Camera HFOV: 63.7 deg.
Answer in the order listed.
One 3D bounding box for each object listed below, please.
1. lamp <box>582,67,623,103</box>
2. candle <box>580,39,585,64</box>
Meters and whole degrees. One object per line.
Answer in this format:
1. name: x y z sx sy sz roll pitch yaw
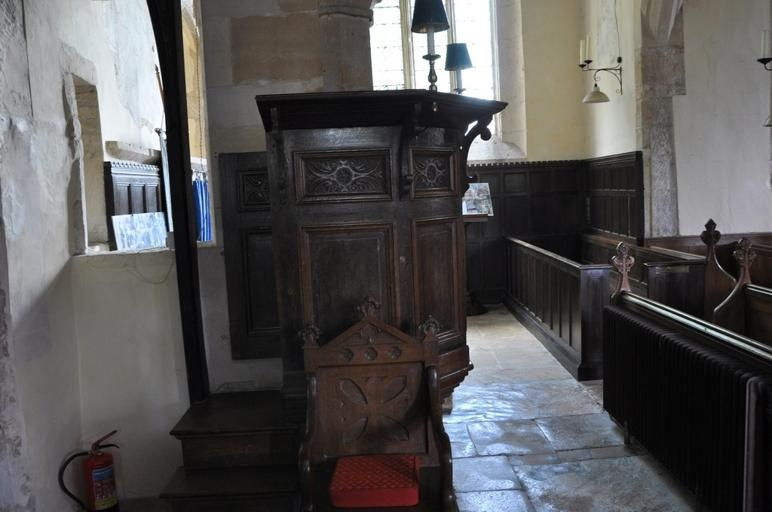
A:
1. lamp: 2.951 -2.361 8.517 0.554 0.531 0.343 -3 5 -3
2. candle: 2.615 -2.716 8.291 0.055 0.287 0.485 2 15 16
